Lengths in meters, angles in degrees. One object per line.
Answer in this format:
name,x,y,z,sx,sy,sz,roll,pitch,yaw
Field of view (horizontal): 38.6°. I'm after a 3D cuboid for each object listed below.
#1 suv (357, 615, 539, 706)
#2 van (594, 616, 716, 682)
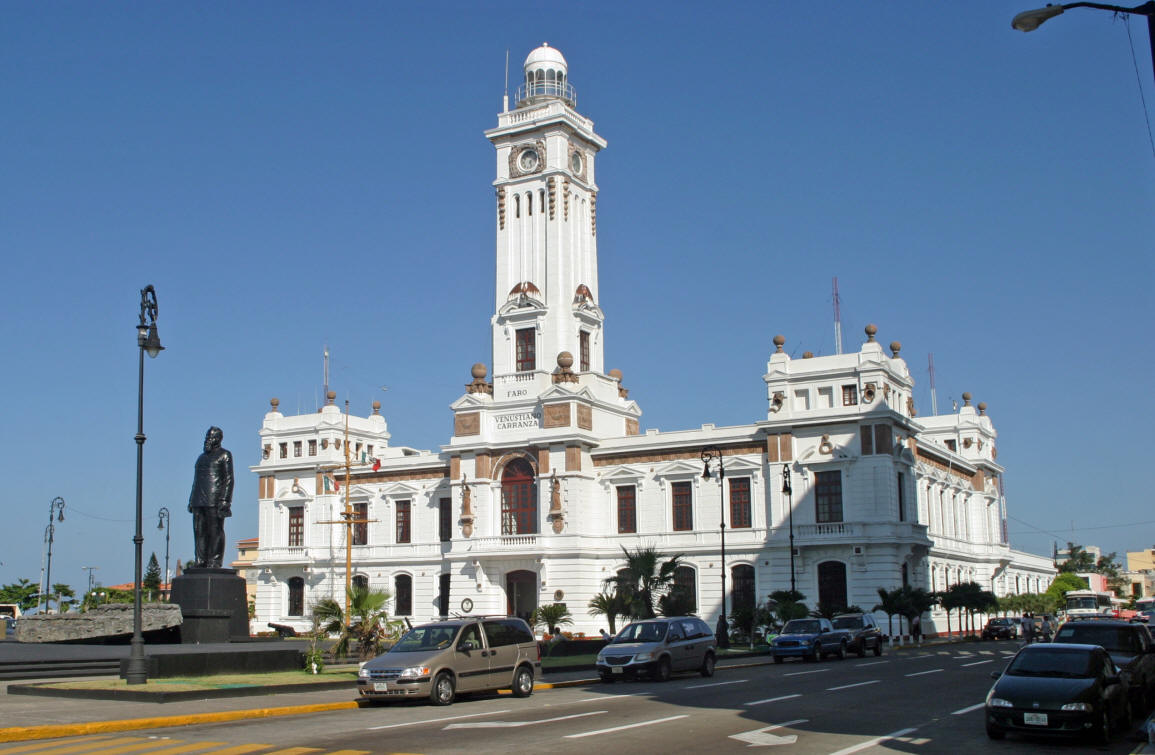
suv,-4.026,9.491,55.353,2.781,2.667,6.629,-5,-9,35
van,2.902,10.262,62.615,1.856,2.521,4.963,-12,-15,40
